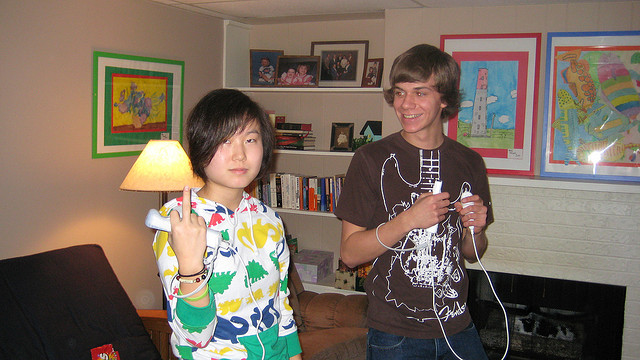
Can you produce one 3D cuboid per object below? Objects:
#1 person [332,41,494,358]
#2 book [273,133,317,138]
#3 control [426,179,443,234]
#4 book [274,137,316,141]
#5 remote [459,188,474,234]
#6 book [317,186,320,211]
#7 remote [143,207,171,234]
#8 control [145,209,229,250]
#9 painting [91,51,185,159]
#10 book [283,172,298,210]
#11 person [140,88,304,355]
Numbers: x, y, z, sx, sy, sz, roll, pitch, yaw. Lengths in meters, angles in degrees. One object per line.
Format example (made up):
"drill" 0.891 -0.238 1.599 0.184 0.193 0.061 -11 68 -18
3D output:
"person" 0.561 0.122 2.590 0.953 1.869 0.524 -2 9 2
"book" -0.275 -0.454 4.344 0.238 0.043 0.229 3 7 16
"control" 0.647 0.141 2.491 0.093 0.325 0.071 15 -9 -34
"book" -0.275 -0.422 4.374 0.227 0.041 0.214 1 4 12
"remote" 0.872 0.192 2.583 0.088 0.268 0.143 1 9 17
"book" -0.020 0.187 4.376 0.020 0.246 0.041 0 9 13
"remote" -0.792 0.213 2.176 0.132 0.135 0.133 -2 9 0
"control" -0.666 0.261 2.186 0.369 0.239 0.141 -1 9 4
"painting" -1.672 -0.678 3.884 1.088 1.033 0.053 -1 4 -40
"book" -0.308 0.127 4.452 0.213 0.328 0.358 1 5 9
"person" -0.535 0.274 2.323 0.733 1.514 0.366 -7 10 -30
